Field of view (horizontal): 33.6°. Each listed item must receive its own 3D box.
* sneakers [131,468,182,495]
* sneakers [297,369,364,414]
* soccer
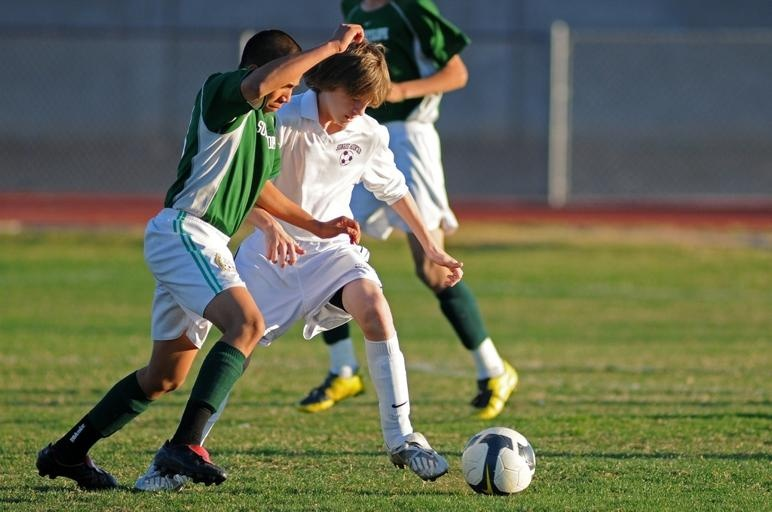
[{"bbox_3d":[-1.625,1.616,9.157,0.396,0.181,0.141,-1,4,-4],"label":"sneakers"},{"bbox_3d":[-0.449,1.112,10.784,0.671,0.297,0.225,-22,7,-20],"label":"sneakers"},{"bbox_3d":[0.777,1.503,9.280,0.469,0.468,0.448,1,-32,-14],"label":"soccer"}]
